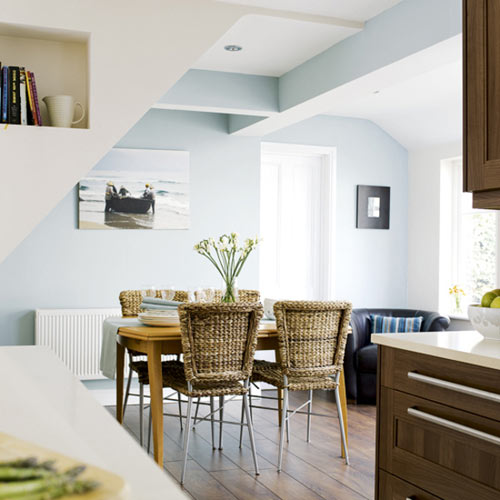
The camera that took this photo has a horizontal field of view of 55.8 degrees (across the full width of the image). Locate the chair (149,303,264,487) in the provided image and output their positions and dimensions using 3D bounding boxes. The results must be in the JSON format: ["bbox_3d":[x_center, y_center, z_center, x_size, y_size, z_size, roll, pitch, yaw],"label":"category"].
[{"bbox_3d":[-0.236,0.835,3.121,0.524,1.105,0.667,0,4,-13],"label":"chair"}]

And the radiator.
[{"bbox_3d":[-1.630,0.897,4.510,0.133,0.670,1.121,-10,-16,24],"label":"radiator"}]

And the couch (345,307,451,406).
[{"bbox_3d":[1.452,1.077,4.983,1.032,0.971,1.013,5,-5,4],"label":"couch"}]

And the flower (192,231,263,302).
[{"bbox_3d":[-0.151,0.137,3.330,0.373,0.473,0.387,-8,-15,16],"label":"flower"}]

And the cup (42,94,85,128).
[{"bbox_3d":[-0.897,-0.664,2.300,0.146,0.160,0.215,14,17,40],"label":"cup"}]
